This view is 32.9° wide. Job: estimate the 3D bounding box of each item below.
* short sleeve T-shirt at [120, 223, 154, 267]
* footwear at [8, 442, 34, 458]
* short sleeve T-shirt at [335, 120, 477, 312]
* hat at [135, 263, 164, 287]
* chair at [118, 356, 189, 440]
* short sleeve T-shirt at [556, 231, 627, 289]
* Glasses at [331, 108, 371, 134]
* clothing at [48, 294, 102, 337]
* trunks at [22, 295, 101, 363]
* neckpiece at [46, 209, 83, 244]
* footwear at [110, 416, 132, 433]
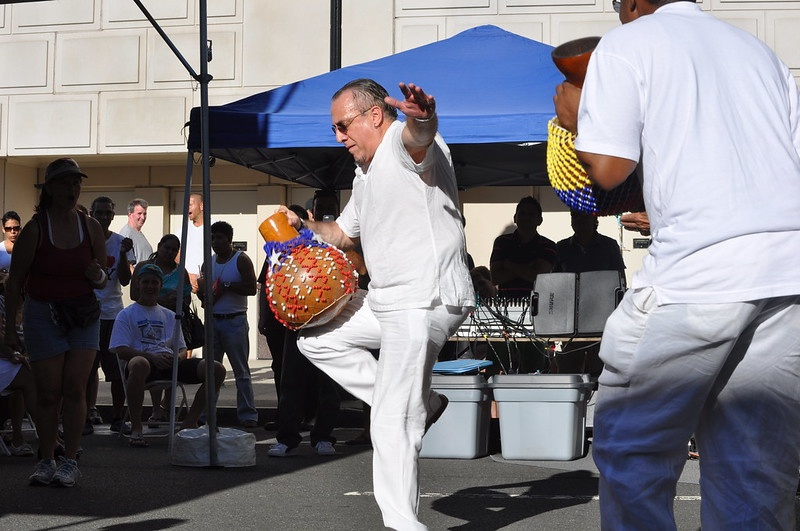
[{"bbox_3d":[-3.057,-0.228,15.681,0.247,0.651,0.556,-6,2,16],"label":"short sleeve T-shirt"},{"bbox_3d":[-3.474,1.690,12.327,0.264,0.100,0.095,-2,-5,22],"label":"footwear"},{"bbox_3d":[0.120,-0.350,9.407,0.816,1.329,0.426,1,-3,3],"label":"short sleeve T-shirt"},{"bbox_3d":[-2.463,0.092,13.405,0.218,0.127,0.248,-13,0,-2],"label":"hat"},{"bbox_3d":[-2.409,1.286,13.179,0.632,1.081,0.776,0,35,-7],"label":"chair"},{"bbox_3d":[1.976,-0.056,14.001,0.887,0.725,0.475,-2,-11,22],"label":"short sleeve T-shirt"},{"bbox_3d":[-0.342,-1.012,9.524,0.197,0.056,0.188,-31,9,-14],"label":"Glasses"},{"bbox_3d":[-2.661,0.375,11.102,0.340,0.261,0.157,-6,-5,-32],"label":"clothing"},{"bbox_3d":[-2.799,0.506,11.251,0.781,0.610,0.447,-2,-11,-33],"label":"trunks"},{"bbox_3d":[-2.748,-0.320,11.302,0.187,0.325,0.079,-2,-14,-15],"label":"neckpiece"},{"bbox_3d":[-2.816,1.594,13.597,0.144,0.128,0.291,1,0,26],"label":"footwear"}]
